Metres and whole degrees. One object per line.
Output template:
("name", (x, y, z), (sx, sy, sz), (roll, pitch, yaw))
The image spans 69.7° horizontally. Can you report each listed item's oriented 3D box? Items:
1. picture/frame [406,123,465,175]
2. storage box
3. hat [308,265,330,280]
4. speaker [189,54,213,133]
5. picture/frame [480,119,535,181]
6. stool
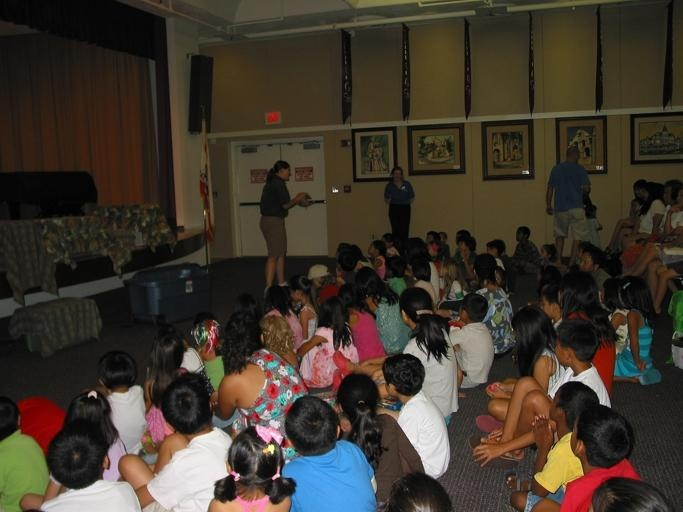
("picture/frame", (1.917, -2.181, 9.772), (0.860, 0.901, 0.069), (1, 11, 15))
("storage box", (-2.104, 0.438, 6.028), (0.571, 0.722, 0.943), (6, 10, 28))
("hat", (-0.263, 0.188, 5.350), (0.193, 0.124, 0.152), (2, 20, 29))
("speaker", (-2.632, -3.035, 9.198), (0.442, 1.389, 0.476), (2, 10, 27))
("picture/frame", (3.256, -2.116, 9.506), (0.984, 1.322, 0.086), (-1, 5, 12))
("stool", (-3.024, 0.653, 5.133), (0.576, 0.386, 0.659), (18, 23, 34))
